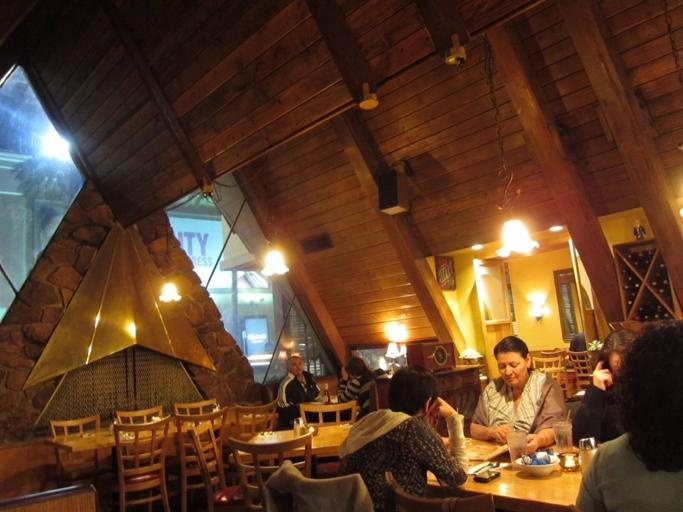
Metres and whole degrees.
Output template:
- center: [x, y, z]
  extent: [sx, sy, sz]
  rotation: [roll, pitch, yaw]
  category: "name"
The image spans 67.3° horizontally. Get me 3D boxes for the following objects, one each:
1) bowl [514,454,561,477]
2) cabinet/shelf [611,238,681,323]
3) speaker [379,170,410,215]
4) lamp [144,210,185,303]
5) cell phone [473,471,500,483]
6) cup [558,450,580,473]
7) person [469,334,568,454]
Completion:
- center: [1.243, 1.335, 3.268]
  extent: [0.291, 0.129, 0.193]
  rotation: [-11, -14, 15]
  category: "bowl"
- center: [3.451, 0.273, 5.789]
  extent: [0.589, 1.166, 0.357]
  rotation: [-21, -24, 39]
  category: "cabinet/shelf"
- center: [0.676, -0.857, 6.750]
  extent: [0.351, 0.665, 0.354]
  rotation: [8, -28, -22]
  category: "speaker"
- center: [-2.584, 0.045, 7.354]
  extent: [0.268, 1.179, 0.811]
  rotation: [-13, -7, 13]
  category: "lamp"
- center: [0.929, 1.397, 3.256]
  extent: [0.193, 0.057, 0.075]
  rotation: [-4, -14, -15]
  category: "cell phone"
- center: [1.450, 1.321, 3.291]
  extent: [0.102, 0.083, 0.108]
  rotation: [-4, -8, 0]
  category: "cup"
- center: [1.308, 1.044, 3.964]
  extent: [0.731, 0.827, 0.504]
  rotation: [-12, -14, 22]
  category: "person"
